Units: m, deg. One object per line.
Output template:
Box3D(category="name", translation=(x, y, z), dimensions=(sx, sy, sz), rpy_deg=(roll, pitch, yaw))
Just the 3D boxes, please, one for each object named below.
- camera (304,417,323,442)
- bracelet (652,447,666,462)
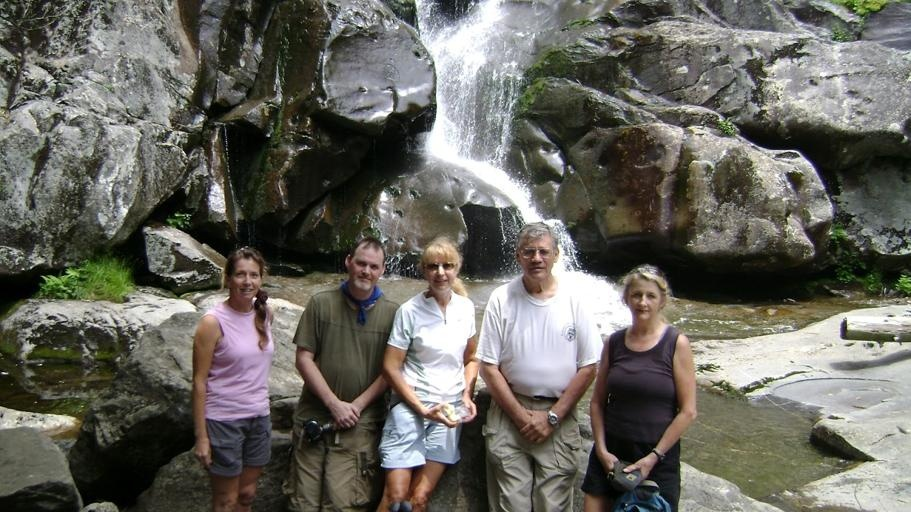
Box3D(category="camera", translation=(-1.751, 2.151, 7.996), dimensions=(0.297, 0.283, 0.219), rpy_deg=(-9, 5, -6))
Box3D(category="bracelet", translation=(2.355, 2.315, 7.595), dimensions=(0.168, 0.069, 0.134), rpy_deg=(36, 16, -11))
